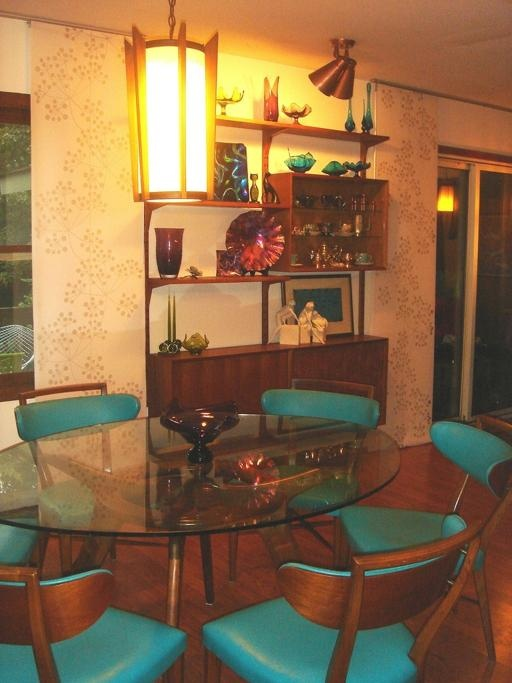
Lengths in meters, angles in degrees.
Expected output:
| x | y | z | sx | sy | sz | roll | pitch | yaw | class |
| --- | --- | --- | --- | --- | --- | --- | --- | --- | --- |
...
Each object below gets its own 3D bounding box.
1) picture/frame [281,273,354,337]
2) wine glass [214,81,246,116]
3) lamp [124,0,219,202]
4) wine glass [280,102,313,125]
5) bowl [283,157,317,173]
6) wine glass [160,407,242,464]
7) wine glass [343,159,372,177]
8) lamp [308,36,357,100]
| x | y | z | sx | sy | sz | roll | pitch | yaw | class |
| --- | --- | --- | --- | --- | --- | --- | --- | --- | --- |
| 0.412 | -0.261 | 4.140 | 0.492 | 0.351 | 0.019 | 3 | -6 | -38 | picture/frame |
| -0.155 | -1.496 | 3.615 | 0.178 | 0.249 | 0.378 | 0 | 6 | -3 | wine glass |
| -0.226 | -0.670 | 1.639 | 0.260 | 0.545 | 0.221 | -2 | 7 | -18 | lamp |
| 0.264 | -1.486 | 3.843 | 0.196 | 0.105 | 0.191 | 1 | 2 | 5 | wine glass |
| 0.290 | -1.170 | 3.830 | 0.161 | 0.105 | 0.157 | 1 | 11 | 0 | bowl |
| -0.180 | 0.287 | 1.987 | 0.209 | 0.133 | 0.199 | 2 | 2 | 40 | wine glass |
| 0.738 | -1.237 | 4.191 | 0.199 | 0.087 | 0.209 | 3 | 8 | 25 | wine glass |
| 0.458 | -1.649 | 3.531 | 0.269 | 0.273 | 0.244 | 1 | 6 | 4 | lamp |
